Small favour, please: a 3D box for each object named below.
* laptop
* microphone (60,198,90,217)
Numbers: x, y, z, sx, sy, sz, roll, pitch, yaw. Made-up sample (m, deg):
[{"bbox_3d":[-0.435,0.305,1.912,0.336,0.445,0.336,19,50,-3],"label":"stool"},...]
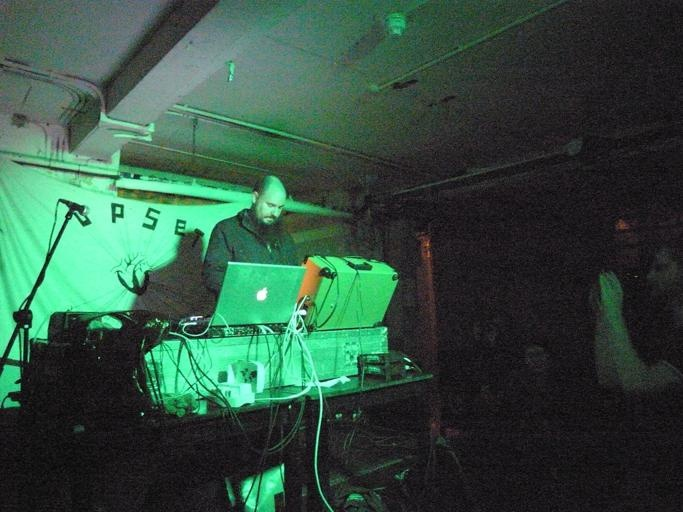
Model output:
[{"bbox_3d":[-0.528,0.199,3.351,0.526,0.315,0.376,4,3,-40],"label":"laptop"},{"bbox_3d":[-1.817,-0.331,4.271,0.160,0.047,0.145,15,32,-13],"label":"microphone"}]
